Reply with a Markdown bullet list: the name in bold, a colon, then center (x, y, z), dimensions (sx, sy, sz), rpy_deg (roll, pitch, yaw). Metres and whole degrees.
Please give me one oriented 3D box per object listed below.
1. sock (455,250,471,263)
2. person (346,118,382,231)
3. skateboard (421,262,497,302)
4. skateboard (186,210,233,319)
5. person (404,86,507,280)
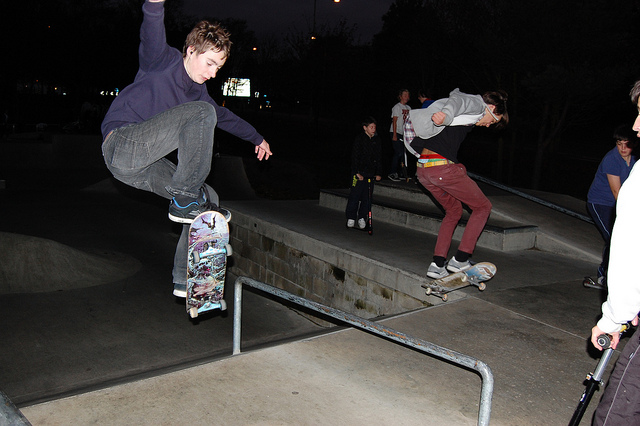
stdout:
- **sock**: center (1.753, 0.537, 5.433), dimensions (0.182, 0.169, 0.108), rpy_deg (12, 13, -3)
- **person**: center (0.827, -0.790, 8.104), dimensions (0.636, 1.997, 0.566), rpy_deg (2, 2, -24)
- **skateboard**: center (1.670, 0.810, 5.342), dimensions (0.849, 0.410, 0.250), rpy_deg (-2, 19, -21)
- **skateboard**: center (-0.947, 0.411, 3.683), dimensions (0.343, 0.977, 0.149), rpy_deg (1, 14, -30)
- **person**: center (1.515, -0.306, 5.269), dimensions (1.163, 2.262, 0.667), rpy_deg (6, 18, 6)
